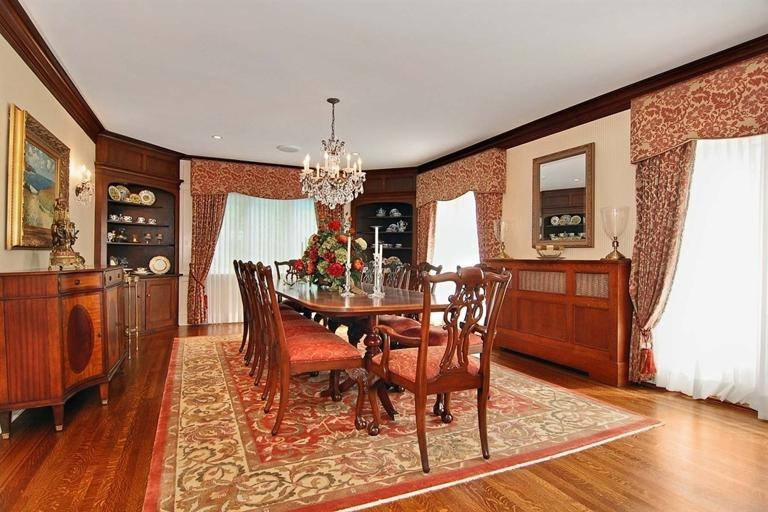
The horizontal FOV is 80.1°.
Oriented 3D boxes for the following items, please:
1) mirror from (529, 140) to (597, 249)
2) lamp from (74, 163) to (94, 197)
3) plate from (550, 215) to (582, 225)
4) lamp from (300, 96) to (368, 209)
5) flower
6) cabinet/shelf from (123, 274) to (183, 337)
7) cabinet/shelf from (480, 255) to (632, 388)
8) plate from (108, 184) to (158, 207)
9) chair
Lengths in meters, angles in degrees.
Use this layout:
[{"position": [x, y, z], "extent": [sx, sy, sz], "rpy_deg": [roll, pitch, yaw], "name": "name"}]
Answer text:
[{"position": [2.379, -0.801, 6.115], "extent": [0.209, 1.380, 1.042], "rpy_deg": [-8, 13, -37], "name": "mirror"}, {"position": [-3.970, -0.995, 6.019], "extent": [0.216, 0.451, 0.589], "rpy_deg": [-7, 12, -33], "name": "lamp"}, {"position": [2.421, -0.495, 6.107], "extent": [0.018, 0.116, 0.375], "rpy_deg": [2, 0, -34], "name": "plate"}, {"position": [-0.696, -1.428, 6.146], "extent": [0.890, 1.475, 0.902], "rpy_deg": [1, 6, 25], "name": "lamp"}, {"position": [-0.557, -0.072, 5.114], "extent": [0.718, 0.595, 0.696], "rpy_deg": [-11, 20, -28], "name": "flower"}, {"position": [-3.793, 0.802, 7.566], "extent": [1.128, 0.962, 0.421], "rpy_deg": [-6, -12, 13], "name": "cabinet/shelf"}, {"position": [2.326, 0.721, 6.065], "extent": [0.696, 1.383, 2.291], "rpy_deg": [-2, 1, -24], "name": "cabinet/shelf"}, {"position": [-4.124, -1.017, 7.489], "extent": [0.682, 0.347, 0.309], "rpy_deg": [-6, 12, -32], "name": "plate"}, {"position": [-0.661, 0.860, 4.684], "extent": [1.024, 1.795, 3.447], "rpy_deg": [-1, -1, -27], "name": "chair"}]
